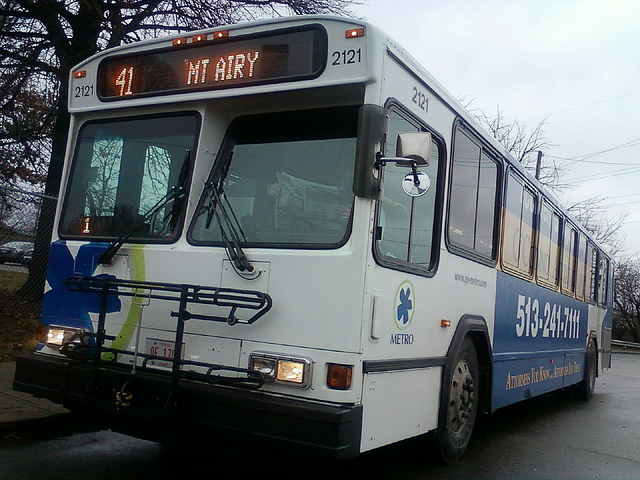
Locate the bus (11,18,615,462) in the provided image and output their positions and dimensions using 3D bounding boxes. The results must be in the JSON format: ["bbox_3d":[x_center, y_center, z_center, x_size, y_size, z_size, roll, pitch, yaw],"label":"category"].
[{"bbox_3d":[0.302,0.302,5.275,5.460,3.981,2.591,9,-8,-30],"label":"bus"}]

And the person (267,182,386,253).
[{"bbox_3d":[0.022,-0.211,4.425,1.014,0.539,0.299,2,-8,17],"label":"person"}]
